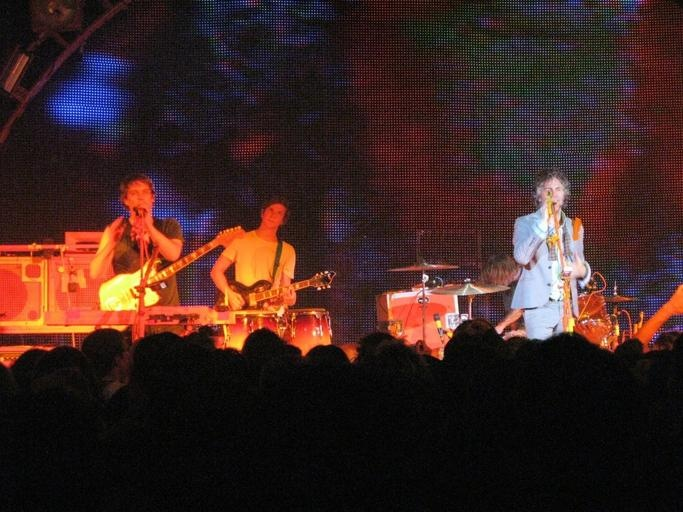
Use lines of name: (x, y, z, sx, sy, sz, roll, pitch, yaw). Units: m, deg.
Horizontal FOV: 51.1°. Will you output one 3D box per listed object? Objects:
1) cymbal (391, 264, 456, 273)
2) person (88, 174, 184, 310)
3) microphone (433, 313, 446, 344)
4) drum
cymbal: (0.865, 0.112, 7.090, 0.308, 0.061, 0.304, -3, 2, -35)
person: (-1.917, -0.147, 6.689, 0.915, 1.215, 0.389, 1, 1, -34)
microphone: (1.001, 0.737, 7.285, 0.086, 0.389, 0.063, -14, -5, 22)
drum: (-0.622, 0.670, 6.801, 0.873, 0.348, 0.587, -2, -4, -1)
